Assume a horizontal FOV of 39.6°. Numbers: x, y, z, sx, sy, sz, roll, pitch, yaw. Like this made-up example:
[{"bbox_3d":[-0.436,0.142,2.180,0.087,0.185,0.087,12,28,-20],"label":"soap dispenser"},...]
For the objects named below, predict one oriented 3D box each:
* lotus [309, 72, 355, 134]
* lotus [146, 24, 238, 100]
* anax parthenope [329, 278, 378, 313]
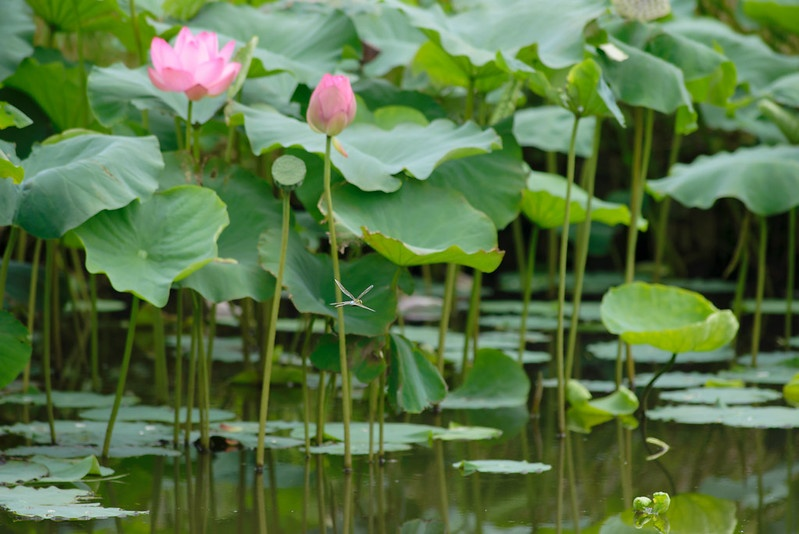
[{"bbox_3d":[-0.210,-0.485,3.349,0.143,0.197,0.152,1,-1,-38],"label":"lotus"},{"bbox_3d":[-0.632,-0.649,3.560,0.327,0.211,0.375,-1,12,-23],"label":"lotus"},{"bbox_3d":[-0.149,0.098,3.484,0.103,0.057,0.111,8,-4,30],"label":"anax parthenope"}]
